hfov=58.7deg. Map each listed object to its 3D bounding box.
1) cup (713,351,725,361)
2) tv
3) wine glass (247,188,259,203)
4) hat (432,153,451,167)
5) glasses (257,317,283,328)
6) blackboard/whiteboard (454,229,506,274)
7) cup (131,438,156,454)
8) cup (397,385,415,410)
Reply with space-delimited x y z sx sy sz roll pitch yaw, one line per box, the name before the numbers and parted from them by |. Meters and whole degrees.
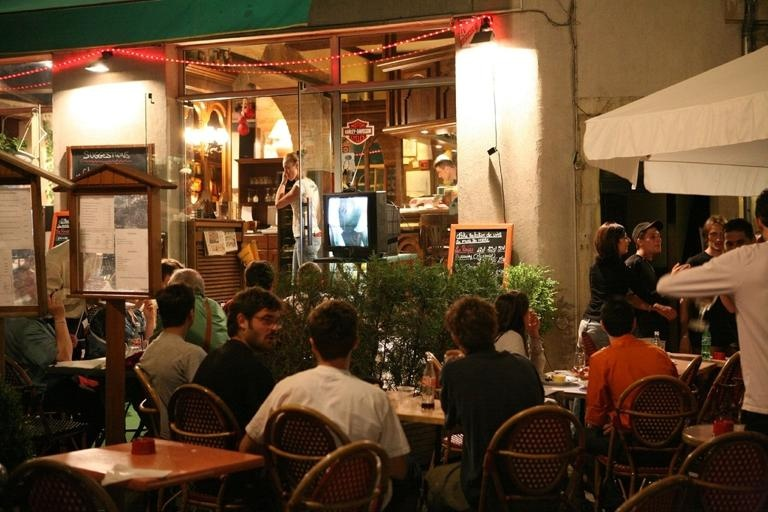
cup | 3.101 0.933 6.328 0.088 0.054 0.088 1 2 0
tv | -0.287 -0.348 8.329 0.847 0.821 0.895 1 2 19
wine glass | -2.526 -1.154 13.149 0.239 0.236 0.230 1 -4 -2
hat | 0.816 -1.316 9.402 0.147 0.177 0.197 -2 -33 -6
glasses | -0.811 0.466 4.738 0.133 0.095 0.167 1 -6 -40
blackboard/whiteboard | 1.145 -0.045 7.944 0.536 0.538 0.069 1 -3 26
cup | -1.328 1.043 3.759 0.092 0.052 0.092 1 1 0
cup | 0.149 1.027 4.896 0.121 0.100 0.132 0 -5 0
